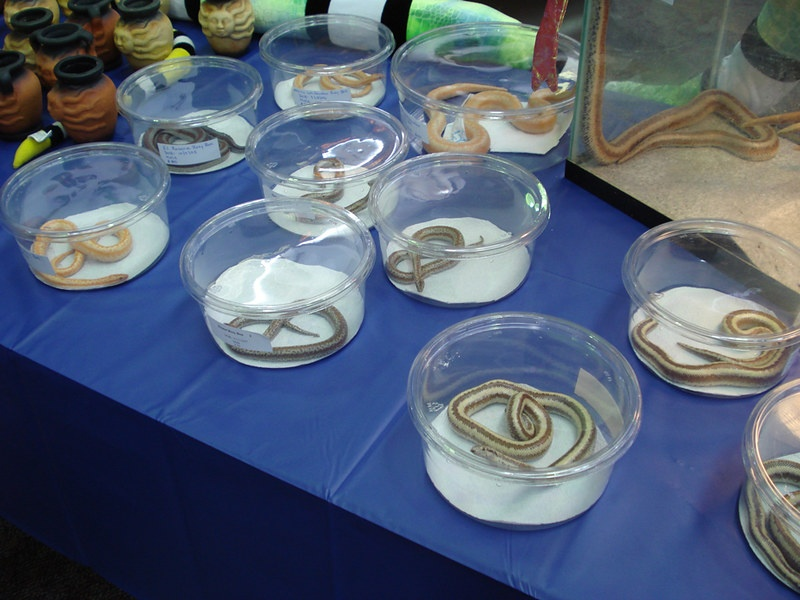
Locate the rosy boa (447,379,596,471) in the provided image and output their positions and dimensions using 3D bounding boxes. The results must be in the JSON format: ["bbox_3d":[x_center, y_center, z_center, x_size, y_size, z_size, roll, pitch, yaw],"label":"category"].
[{"bbox_3d":[0.291,0.303,1.664,0.239,0.060,0.316,-10,24,-19],"label":"rosy boa"}]

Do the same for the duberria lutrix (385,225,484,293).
[{"bbox_3d":[0.073,-0.118,2.046,0.191,0.045,0.247,27,51,27],"label":"duberria lutrix"}]
